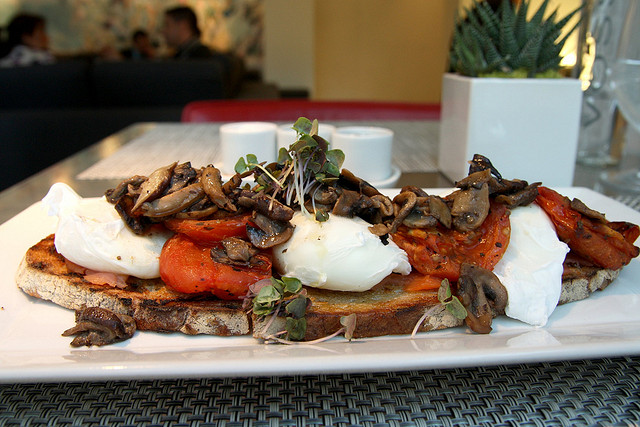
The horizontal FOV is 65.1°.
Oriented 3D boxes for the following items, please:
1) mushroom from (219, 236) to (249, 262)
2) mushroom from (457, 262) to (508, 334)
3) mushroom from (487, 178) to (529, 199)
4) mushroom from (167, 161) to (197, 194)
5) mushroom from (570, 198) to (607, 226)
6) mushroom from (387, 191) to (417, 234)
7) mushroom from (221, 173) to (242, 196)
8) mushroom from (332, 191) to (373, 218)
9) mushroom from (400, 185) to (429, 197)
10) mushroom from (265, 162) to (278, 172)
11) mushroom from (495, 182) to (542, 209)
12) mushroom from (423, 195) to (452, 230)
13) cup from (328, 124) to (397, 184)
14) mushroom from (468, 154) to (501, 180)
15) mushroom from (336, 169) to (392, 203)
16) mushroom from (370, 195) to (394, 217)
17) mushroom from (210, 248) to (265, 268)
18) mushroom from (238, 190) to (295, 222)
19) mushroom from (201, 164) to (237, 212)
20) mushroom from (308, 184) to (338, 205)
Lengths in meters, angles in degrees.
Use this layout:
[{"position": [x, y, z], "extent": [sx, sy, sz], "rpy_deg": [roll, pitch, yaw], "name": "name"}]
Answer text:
[{"position": [-0.180, 0.072, 1.025], "extent": [0.079, 0.038, 0.041], "rpy_deg": [7, 27, 20], "name": "mushroom"}, {"position": [0.332, 0.171, 1.013], "extent": [0.113, 0.130, 0.039], "rpy_deg": [-13, -11, -5], "name": "mushroom"}, {"position": [0.410, -0.059, 1.089], "extent": [0.075, 0.025, 0.045], "rpy_deg": [-6, 21, -6], "name": "mushroom"}, {"position": [-0.298, -0.076, 1.117], "extent": [0.051, 0.017, 0.074], "rpy_deg": [26, 56, 23], "name": "mushroom"}, {"position": [0.585, -0.005, 1.107], "extent": [0.062, 0.020, 0.060], "rpy_deg": [16, 13, -44], "name": "mushroom"}, {"position": [0.154, -0.006, 1.084], "extent": [0.026, 0.087, 0.071], "rpy_deg": [43, 22, 32], "name": "mushroom"}, {"position": [-0.185, -0.062, 1.057], "extent": [0.028, 0.057, 0.020], "rpy_deg": [56, 24, 15], "name": "mushroom"}, {"position": [0.069, -0.018, 1.066], "extent": [0.067, 0.063, 0.020], "rpy_deg": [32, -20, -16], "name": "mushroom"}, {"position": [0.221, -0.053, 1.170], "extent": [0.059, 0.024, 0.071], "rpy_deg": [3, 10, -5], "name": "mushroom"}, {"position": [-0.105, -0.101, 1.091], "extent": [0.022, 0.013, 0.018], "rpy_deg": [5, 21, 14], "name": "mushroom"}, {"position": [0.427, -0.039, 1.091], "extent": [0.068, 0.022, 0.065], "rpy_deg": [-23, 11, -14], "name": "mushroom"}, {"position": [0.253, -0.006, 1.072], "extent": [0.060, 0.070, 0.047], "rpy_deg": [-2, 26, 4], "name": "mushroom"}, {"position": [0.156, -0.204, 1.663], "extent": [0.248, 0.165, 0.231], "rpy_deg": [1, 17, 0], "name": "cup"}, {"position": [0.359, -0.108, 1.112], "extent": [0.062, 0.025, 0.060], "rpy_deg": [32, 31, 6], "name": "mushroom"}, {"position": [0.089, -0.066, 1.046], "extent": [0.132, 0.068, 0.096], "rpy_deg": [0, 12, -2], "name": "mushroom"}, {"position": [0.136, -0.020, 1.077], "extent": [0.039, 0.014, 0.045], "rpy_deg": [-19, 46, -24], "name": "mushroom"}, {"position": [-0.163, 0.080, 1.020], "extent": [0.074, 0.015, 0.048], "rpy_deg": [17, 14, 15], "name": "mushroom"}, {"position": [-0.109, -0.014, 1.041], "extent": [0.114, 0.064, 0.033], "rpy_deg": [6, 28, 18], "name": "mushroom"}, {"position": [-0.219, -0.052, 1.066], "extent": [0.057, 0.079, 0.104], "rpy_deg": [-12, 27, -16], "name": "mushroom"}, {"position": [0.007, -0.039, 1.072], "extent": [0.059, 0.036, 0.026], "rpy_deg": [14, 31, 33], "name": "mushroom"}]
